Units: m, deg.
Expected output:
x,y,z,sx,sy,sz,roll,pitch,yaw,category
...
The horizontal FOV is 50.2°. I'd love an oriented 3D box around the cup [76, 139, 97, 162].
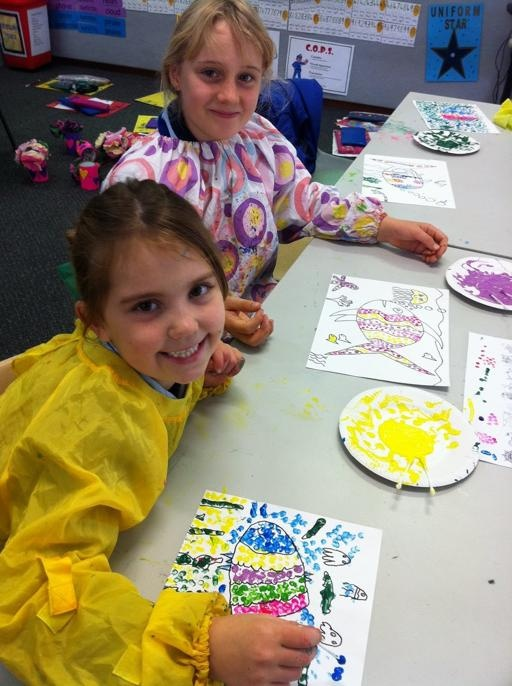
x,y,z,sx,sy,sz,roll,pitch,yaw,category
-0.971,-1.107,3.142,0.128,0.094,0.185,-16,32,-17,cup
